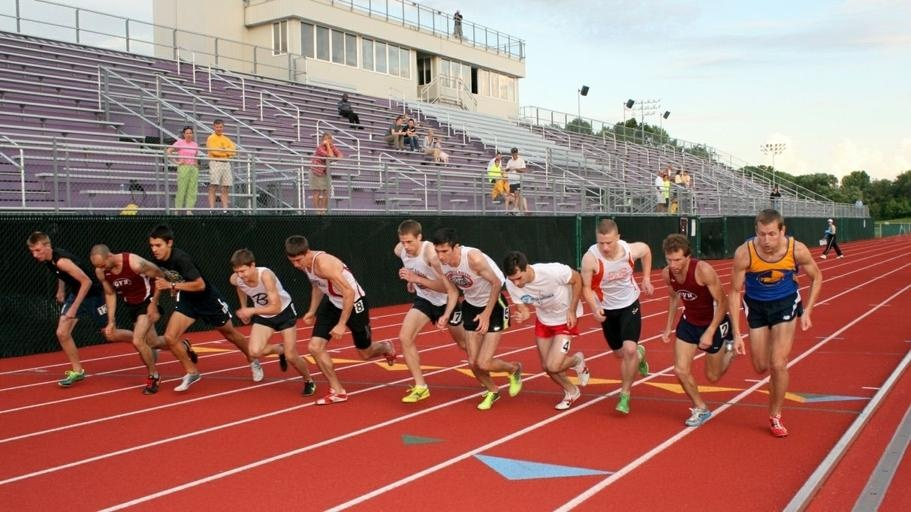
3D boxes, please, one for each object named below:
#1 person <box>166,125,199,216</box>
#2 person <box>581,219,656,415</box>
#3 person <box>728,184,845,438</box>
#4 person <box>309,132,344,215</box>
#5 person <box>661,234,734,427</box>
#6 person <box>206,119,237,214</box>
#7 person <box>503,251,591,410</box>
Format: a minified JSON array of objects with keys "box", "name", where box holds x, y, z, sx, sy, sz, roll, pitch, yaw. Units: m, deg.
[{"box":[-6.350,-2.013,17.194,0.664,1.984,1.088,-2,7,-9],"name":"person"},{"box":[2.627,0.895,11.962,0.861,3.015,1.440,3,8,31],"name":"person"},{"box":[4.758,0.930,11.034,1.178,3.306,1.394,2,8,25],"name":"person"},{"box":[-3.467,-2.219,19.493,0.782,2.082,1.509,-2,7,-8],"name":"person"},{"box":[3.665,1.098,11.234,0.974,2.875,0.751,1,7,19],"name":"person"},{"box":[-5.727,-2.260,17.894,0.658,2.147,1.231,-3,7,-17],"name":"person"},{"box":[1.465,1.174,11.751,1.394,2.538,0.629,-2,7,-7],"name":"person"}]
